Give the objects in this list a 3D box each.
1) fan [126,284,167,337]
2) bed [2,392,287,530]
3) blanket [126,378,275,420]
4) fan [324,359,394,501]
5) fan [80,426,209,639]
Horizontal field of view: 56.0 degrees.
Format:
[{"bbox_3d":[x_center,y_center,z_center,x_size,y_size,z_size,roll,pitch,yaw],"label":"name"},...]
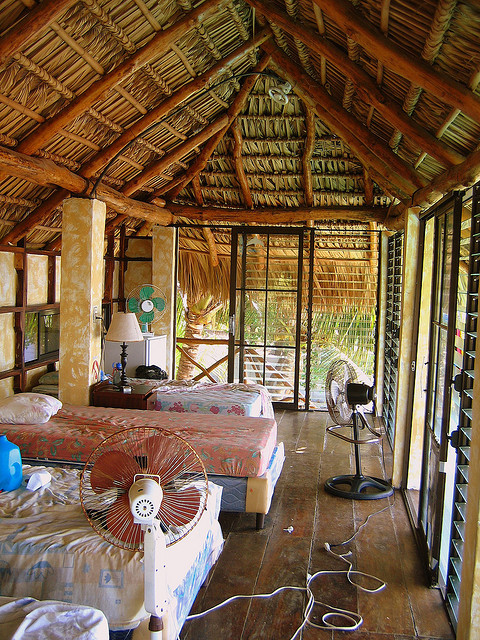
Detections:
[{"bbox_3d":[-1.241,-0.086,6.164,0.528,0.728,0.332,4,-8,4],"label":"fan"},{"bbox_3d":[-0.727,0.797,3.121,1.886,0.603,0.994,2,7,10],"label":"bed"},{"bbox_3d":[-0.365,0.843,4.515,1.427,0.306,1.502,-4,-4,21],"label":"blanket"},{"bbox_3d":[0.922,0.840,3.535,0.529,1.031,0.417,1,0,2],"label":"fan"},{"bbox_3d":[-0.299,0.688,1.586,0.498,0.570,0.739,1,0,-19],"label":"fan"}]
